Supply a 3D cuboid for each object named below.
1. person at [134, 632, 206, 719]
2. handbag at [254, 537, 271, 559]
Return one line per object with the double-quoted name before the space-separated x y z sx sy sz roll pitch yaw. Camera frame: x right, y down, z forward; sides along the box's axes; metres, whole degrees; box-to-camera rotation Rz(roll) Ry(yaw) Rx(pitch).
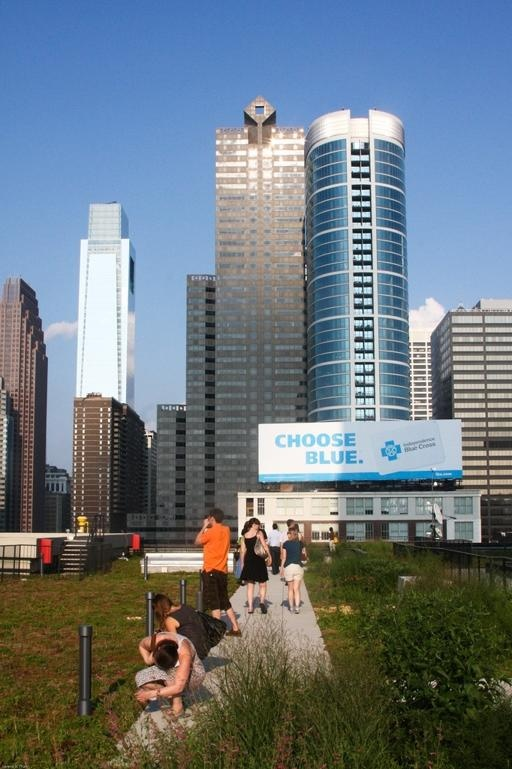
"person" -0.860 2.846 7.446 0.552 0.889 0.804 0 15 5
"handbag" 0.131 3.199 14.712 0.241 0.425 0.486 -6 -7 32
